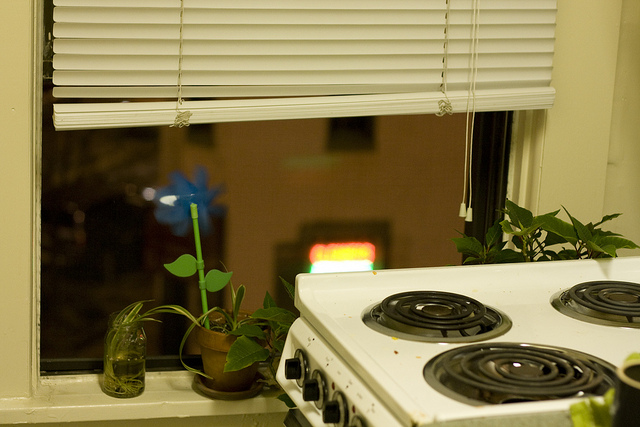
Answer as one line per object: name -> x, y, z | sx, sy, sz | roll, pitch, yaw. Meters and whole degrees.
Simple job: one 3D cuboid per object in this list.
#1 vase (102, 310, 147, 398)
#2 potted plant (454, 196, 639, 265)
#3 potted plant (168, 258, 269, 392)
vase -> -0.665, 0.452, 1.783 | 0.193, 0.275, 0.106 | 2, 7, 24
potted plant -> 0.682, 0.074, 1.684 | 0.409, 0.160, 0.355 | 7, -2, 8
potted plant -> -0.323, 0.364, 1.843 | 0.420, 0.427, 0.372 | 2, 0, 16
